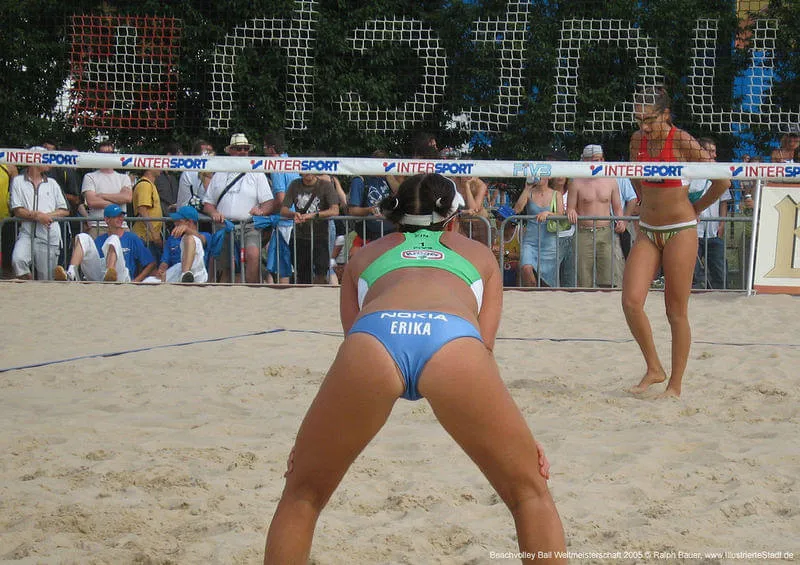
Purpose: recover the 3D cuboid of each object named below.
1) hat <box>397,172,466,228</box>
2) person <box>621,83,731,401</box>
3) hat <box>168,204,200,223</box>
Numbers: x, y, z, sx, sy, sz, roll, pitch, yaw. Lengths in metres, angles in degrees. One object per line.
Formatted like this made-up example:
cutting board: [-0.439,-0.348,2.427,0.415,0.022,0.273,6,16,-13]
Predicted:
hat: [0.272,-0.739,10.466,0.391,0.320,0.527,-17,12,23]
person: [2.924,-0.457,12.963,0.911,3.309,1.008,3,5,34]
hat: [-3.165,-1.015,17.313,0.325,0.195,0.240,3,8,4]
